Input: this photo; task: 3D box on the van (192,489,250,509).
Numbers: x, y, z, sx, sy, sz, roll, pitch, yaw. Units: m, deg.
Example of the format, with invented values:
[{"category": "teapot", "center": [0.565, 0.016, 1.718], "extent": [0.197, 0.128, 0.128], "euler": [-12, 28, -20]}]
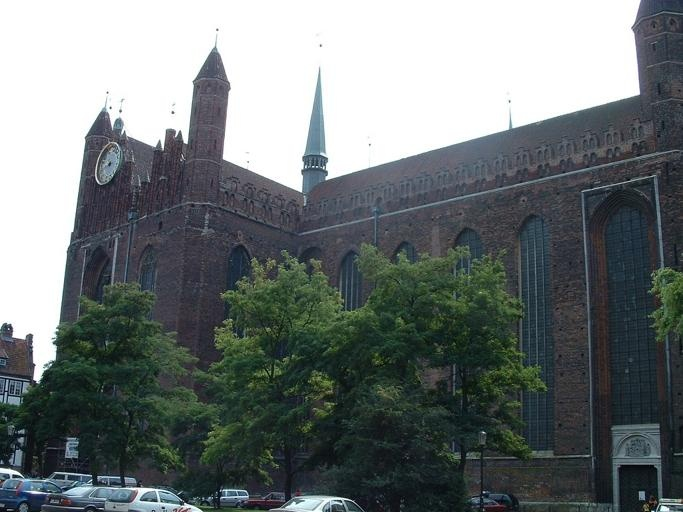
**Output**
[{"category": "van", "center": [-7.854, 15.743, 71.142], "extent": [3.930, 1.569, 1.835], "euler": [7, -17, -17]}]
